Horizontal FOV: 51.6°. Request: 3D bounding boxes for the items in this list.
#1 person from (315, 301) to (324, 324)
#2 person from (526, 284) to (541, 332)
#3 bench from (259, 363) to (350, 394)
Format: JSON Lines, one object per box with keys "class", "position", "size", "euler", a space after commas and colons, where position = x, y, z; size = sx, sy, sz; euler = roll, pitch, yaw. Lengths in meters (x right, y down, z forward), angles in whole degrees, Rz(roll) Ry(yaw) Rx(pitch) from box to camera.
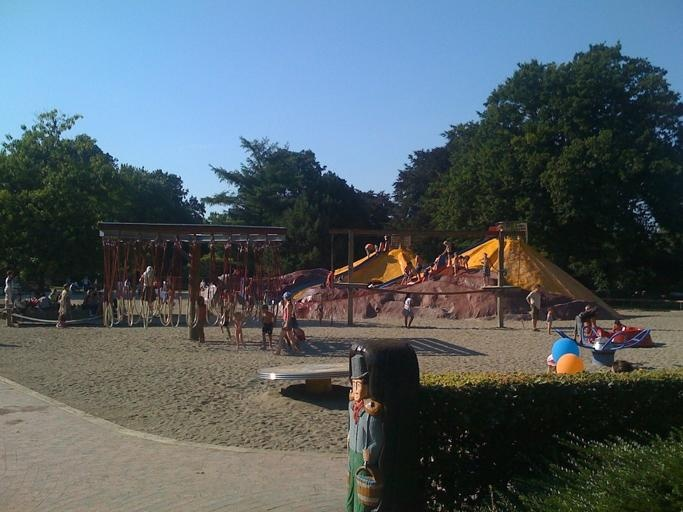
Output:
{"class": "person", "position": [-0.923, 2.271, 28.268], "size": [0.482, 1.129, 0.291], "euler": [-1, -7, 2]}
{"class": "person", "position": [6.941, 1.898, 25.449], "size": [0.463, 1.565, 3.870], "euler": [-2, -7, 15]}
{"class": "bench", "position": [-0.735, 2.405, 13.966], "size": [1.664, 0.532, 1.677], "euler": [-1, -7, -1]}
